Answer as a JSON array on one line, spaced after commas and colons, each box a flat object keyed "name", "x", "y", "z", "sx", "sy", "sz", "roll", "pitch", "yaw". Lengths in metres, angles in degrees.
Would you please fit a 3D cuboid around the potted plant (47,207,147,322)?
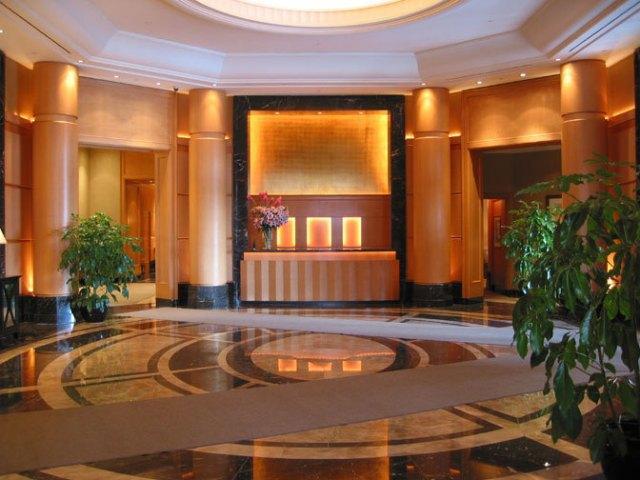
[{"name": "potted plant", "x": -4.001, "y": 0.513, "z": 8.948, "sx": 1.328, "sy": 1.736, "sz": 1.358, "roll": 1, "pitch": -6, "yaw": 27}]

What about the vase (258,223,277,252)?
[{"name": "vase", "x": -1.175, "y": -0.040, "z": 11.058, "sx": 0.505, "sy": 0.616, "sz": 0.519, "roll": -1, "pitch": 3, "yaw": 10}]

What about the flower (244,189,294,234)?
[{"name": "flower", "x": -1.148, "y": -0.539, "z": 10.912, "sx": 0.788, "sy": 0.883, "sz": 0.752, "roll": -2, "pitch": -2, "yaw": 20}]
